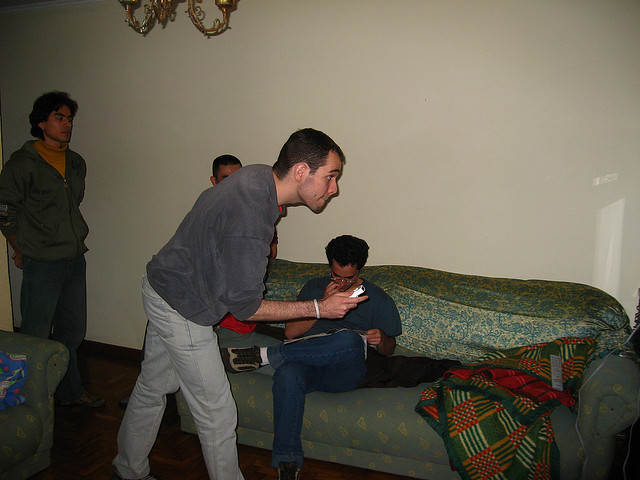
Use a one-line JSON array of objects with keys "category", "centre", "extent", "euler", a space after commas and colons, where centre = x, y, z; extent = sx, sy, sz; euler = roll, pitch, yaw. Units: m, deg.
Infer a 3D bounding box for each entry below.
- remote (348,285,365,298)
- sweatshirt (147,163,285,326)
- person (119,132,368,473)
[{"category": "remote", "centre": [0.166, 0.242, 2.151], "extent": [0.037, 0.074, 0.017], "euler": [41, 0, 18]}, {"category": "sweatshirt", "centre": [-0.510, -0.016, 2.259], "extent": [0.382, 0.760, 0.750], "euler": [21, 3, -27]}, {"category": "person", "centre": [-0.442, 0.362, 2.221], "extent": [1.054, 1.787, 0.411], "euler": [8, 4, 21]}]
